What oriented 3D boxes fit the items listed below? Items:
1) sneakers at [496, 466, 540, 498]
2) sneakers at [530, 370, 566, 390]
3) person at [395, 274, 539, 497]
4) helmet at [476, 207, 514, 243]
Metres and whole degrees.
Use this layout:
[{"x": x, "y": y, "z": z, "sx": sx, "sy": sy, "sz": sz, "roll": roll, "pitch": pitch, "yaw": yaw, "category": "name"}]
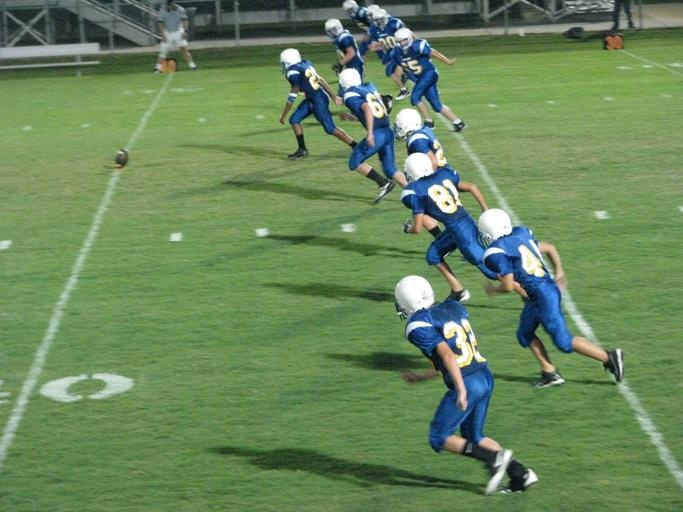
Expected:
[{"x": 1.537, "y": 2.038, "z": 9.440, "sx": 0.608, "sy": 0.178, "sz": 0.148, "roll": -16, "pitch": 28, "yaw": 17, "category": "sneakers"}, {"x": 2.188, "y": 1.258, "z": 10.547, "sx": 0.505, "sy": 0.128, "sz": 0.119, "roll": -4, "pitch": 32, "yaw": 10, "category": "sneakers"}, {"x": 1.122, "y": 1.178, "z": 9.446, "sx": 0.882, "sy": 1.985, "sz": 1.043, "roll": -11, "pitch": 17, "yaw": -13, "category": "person"}, {"x": 1.537, "y": -0.272, "z": 10.323, "sx": 0.311, "sy": 0.356, "sz": 0.209, "roll": -7, "pitch": 16, "yaw": -9, "category": "helmet"}]
